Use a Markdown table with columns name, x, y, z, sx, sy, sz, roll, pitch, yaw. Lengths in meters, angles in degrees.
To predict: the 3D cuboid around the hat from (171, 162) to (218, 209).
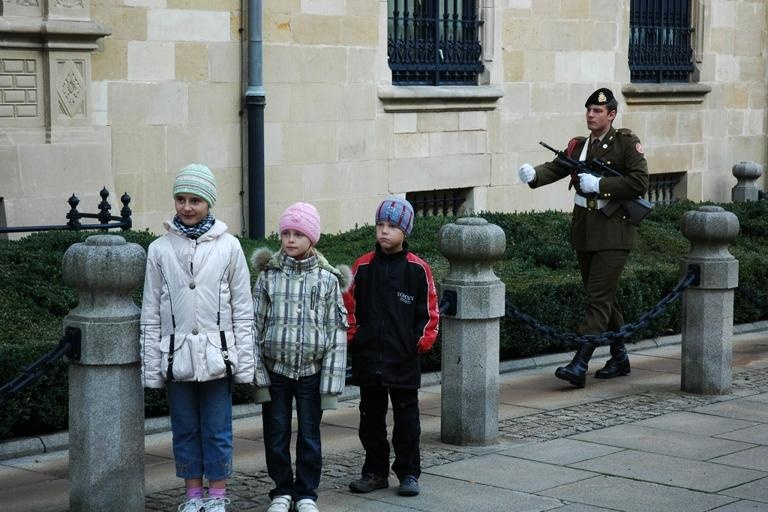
| name | x | y | z | sx | sy | sz | roll | pitch | yaw |
| --- | --- | --- | --- | --- | --- | --- | --- | --- | --- |
| hat | -1.406 | -0.529 | 8.441 | 0.304 | 0.303 | 0.328 | 2 | -2 | 10 |

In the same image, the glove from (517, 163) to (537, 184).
| name | x | y | z | sx | sy | sz | roll | pitch | yaw |
| --- | --- | --- | --- | --- | --- | --- | --- | --- | --- |
| glove | 1.488 | -0.855 | 11.672 | 0.176 | 0.189 | 0.215 | -3 | 3 | -9 |

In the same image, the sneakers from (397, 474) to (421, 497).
| name | x | y | z | sx | sy | sz | roll | pitch | yaw |
| --- | --- | --- | --- | --- | --- | --- | --- | --- | --- |
| sneakers | 0.189 | 1.783 | 8.837 | 0.150 | 0.118 | 0.296 | 0 | -4 | -2 |

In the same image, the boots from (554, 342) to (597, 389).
| name | x | y | z | sx | sy | sz | roll | pitch | yaw |
| --- | --- | --- | --- | --- | --- | --- | --- | --- | --- |
| boots | 1.899 | 1.068 | 11.321 | 0.343 | 0.554 | 0.526 | 3 | 11 | 14 |

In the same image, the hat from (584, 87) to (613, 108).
| name | x | y | z | sx | sy | sz | roll | pitch | yaw |
| --- | --- | --- | --- | --- | --- | --- | --- | --- | --- |
| hat | 2.235 | -1.611 | 11.545 | 0.183 | 0.137 | 0.249 | 3 | 10 | 32 |

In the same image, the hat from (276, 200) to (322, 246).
| name | x | y | z | sx | sy | sz | roll | pitch | yaw |
| --- | --- | --- | --- | --- | --- | --- | --- | --- | --- |
| hat | -0.643 | -0.248 | 8.686 | 0.301 | 0.291 | 0.323 | 4 | 4 | 10 |

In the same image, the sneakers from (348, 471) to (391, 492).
| name | x | y | z | sx | sy | sz | roll | pitch | yaw |
| --- | --- | --- | --- | --- | --- | --- | --- | --- | --- |
| sneakers | -0.121 | 1.779 | 8.952 | 0.325 | 0.128 | 0.122 | 2 | 13 | -27 |

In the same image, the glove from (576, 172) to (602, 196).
| name | x | y | z | sx | sy | sz | roll | pitch | yaw |
| --- | --- | --- | --- | --- | --- | --- | --- | --- | --- |
| glove | 2.060 | -0.726 | 11.417 | 0.233 | 0.212 | 0.157 | 6 | 12 | 27 |

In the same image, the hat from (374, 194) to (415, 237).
| name | x | y | z | sx | sy | sz | roll | pitch | yaw |
| --- | --- | --- | --- | --- | --- | --- | --- | --- | --- |
| hat | 0.095 | -0.327 | 8.985 | 0.266 | 0.267 | 0.332 | 17 | 1 | 20 |

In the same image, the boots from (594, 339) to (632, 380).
| name | x | y | z | sx | sy | sz | roll | pitch | yaw |
| --- | --- | --- | --- | --- | --- | --- | --- | --- | --- |
| boots | 2.384 | 1.073 | 11.918 | 0.447 | 0.393 | 0.186 | -10 | 8 | -27 |
